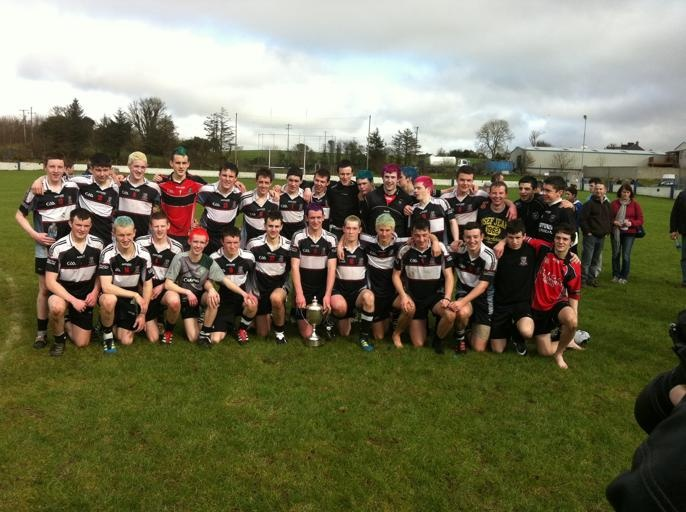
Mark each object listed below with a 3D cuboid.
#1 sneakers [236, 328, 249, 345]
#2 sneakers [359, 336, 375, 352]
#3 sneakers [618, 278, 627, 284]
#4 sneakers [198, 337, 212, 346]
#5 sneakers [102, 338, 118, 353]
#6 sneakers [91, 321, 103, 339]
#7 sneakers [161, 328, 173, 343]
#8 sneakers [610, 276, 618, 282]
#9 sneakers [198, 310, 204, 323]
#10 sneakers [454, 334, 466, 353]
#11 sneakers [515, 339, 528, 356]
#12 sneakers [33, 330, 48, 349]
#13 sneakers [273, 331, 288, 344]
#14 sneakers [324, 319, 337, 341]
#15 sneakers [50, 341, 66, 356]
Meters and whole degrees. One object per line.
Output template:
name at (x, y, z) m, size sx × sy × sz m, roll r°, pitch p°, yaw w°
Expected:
sneakers at (-1.482, 1.209, 7.926) m, size 0.140 × 0.176 × 0.381 m, roll 2°, pitch -9°, yaw -16°
sneakers at (0.352, 1.310, 7.833) m, size 0.123 × 0.159 × 0.352 m, roll 0°, pitch -8°, yaw -10°
sneakers at (6.248, 0.566, 11.838) m, size 0.087 × 0.103 × 0.215 m, roll -3°, pitch -4°, yaw 9°
sneakers at (-1.967, 1.232, 7.619) m, size 0.087 × 0.070 × 0.161 m, roll 10°, pitch 16°, yaw -10°
sneakers at (-3.239, 1.230, 7.414) m, size 0.173 × 0.160 × 0.307 m, roll -4°, pitch 12°, yaw -25°
sneakers at (-3.635, 1.109, 7.882) m, size 0.091 × 0.298 × 0.119 m, roll 5°, pitch 2°, yaw -25°
sneakers at (-2.557, 1.183, 7.780) m, size 0.109 × 0.111 × 0.240 m, roll 14°, pitch -2°, yaw -26°
sneakers at (6.168, 0.531, 12.069) m, size 0.116 × 0.128 × 0.280 m, roll -1°, pitch -2°, yaw 31°
sneakers at (-2.133, 0.928, 8.076) m, size 0.117 × 0.178 × 0.059 m, roll -1°, pitch -5°, yaw 10°
sneakers at (1.747, 1.246, 7.771) m, size 0.164 × 0.262 × 0.346 m, roll 3°, pitch 11°, yaw 15°
sneakers at (2.585, 1.326, 7.656) m, size 0.099 × 0.128 × 0.315 m, roll 1°, pitch 25°, yaw 10°
sneakers at (-4.203, 1.154, 7.400) m, size 0.168 × 0.191 × 0.315 m, roll -5°, pitch 12°, yaw -30°
sneakers at (-0.922, 1.192, 8.003) m, size 0.180 × 0.165 × 0.390 m, roll -1°, pitch 11°, yaw -9°
sneakers at (-0.188, 1.131, 8.315) m, size 0.183 × 0.212 × 0.543 m, roll 0°, pitch 11°, yaw -2°
sneakers at (-3.835, 1.255, 7.172) m, size 0.098 × 0.107 × 0.254 m, roll 3°, pitch 4°, yaw -8°
